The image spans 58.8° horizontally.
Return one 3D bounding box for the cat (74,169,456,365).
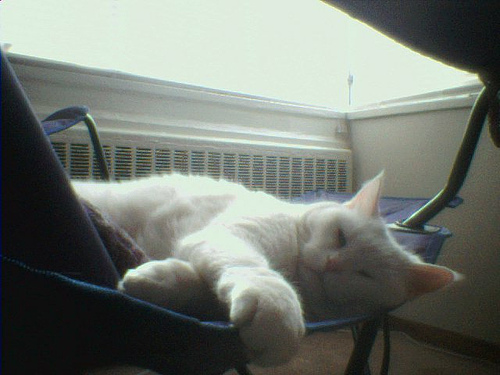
[{"bbox_3d":[0.074,0.198,1.028,0.614,0.500,0.272,24,70,2],"label":"cat"}]
